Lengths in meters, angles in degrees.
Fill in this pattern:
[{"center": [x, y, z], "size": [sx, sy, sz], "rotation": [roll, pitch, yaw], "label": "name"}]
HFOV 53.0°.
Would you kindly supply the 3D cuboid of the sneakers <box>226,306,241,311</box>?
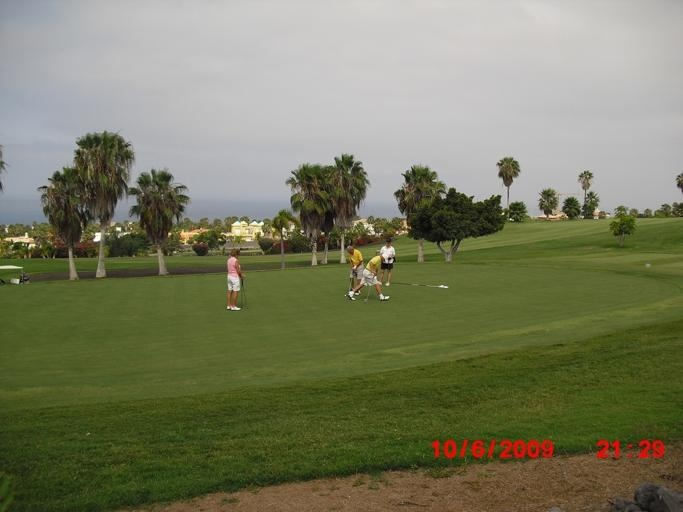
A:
[{"center": [-3.769, 1.765, 23.858], "size": [0.456, 0.215, 0.206], "rotation": [-1, 5, 7], "label": "sneakers"}]
